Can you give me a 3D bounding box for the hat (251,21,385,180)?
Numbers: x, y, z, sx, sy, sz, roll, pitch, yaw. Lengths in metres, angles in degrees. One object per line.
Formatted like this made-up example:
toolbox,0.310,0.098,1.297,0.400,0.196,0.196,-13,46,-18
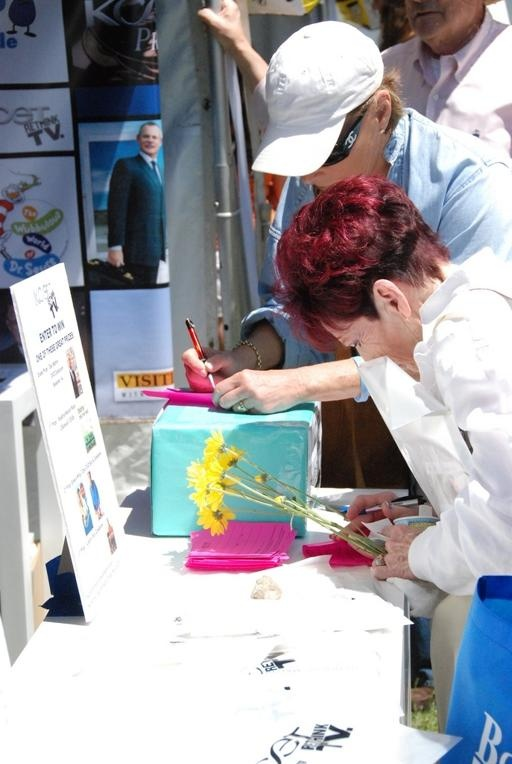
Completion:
hat,0.131,-0.568,1.430,0.249,0.330,0.254,-10,26,-27
